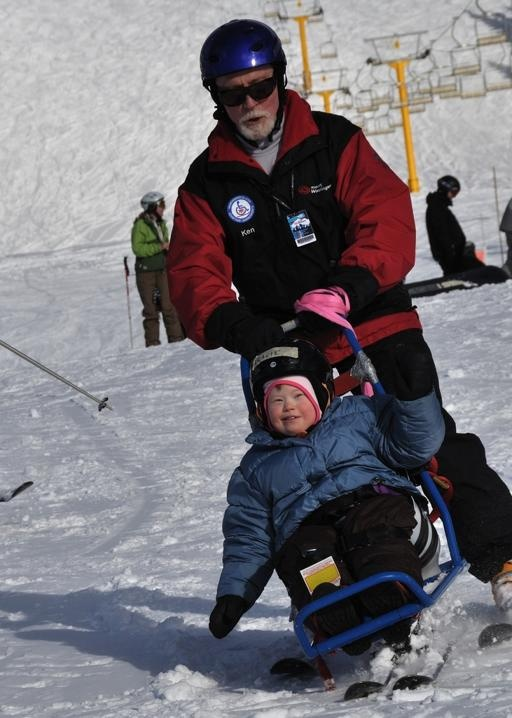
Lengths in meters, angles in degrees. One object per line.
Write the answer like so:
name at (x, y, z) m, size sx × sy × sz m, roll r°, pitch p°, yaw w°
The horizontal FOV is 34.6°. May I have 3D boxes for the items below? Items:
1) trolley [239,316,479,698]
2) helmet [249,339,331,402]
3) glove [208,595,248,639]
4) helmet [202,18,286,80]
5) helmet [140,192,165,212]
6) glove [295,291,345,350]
trolley at (0.297, 0.424, 2.406) m, size 0.620 × 0.739 × 0.700 m, roll -6°, pitch 3°, yaw 3°
helmet at (0.117, 0.022, 2.524) m, size 0.213 × 0.204 × 0.202 m, roll -8°, pitch 15°, yaw 11°
glove at (-0.077, 0.736, 2.406) m, size 0.069 × 0.063 × 0.173 m, roll 18°, pitch 38°, yaw 19°
helmet at (-0.031, -1.021, 2.668) m, size 0.221 × 0.260 × 0.196 m, roll -10°, pitch 56°, yaw 0°
helmet at (-1.302, -2.091, 10.901) m, size 0.369 × 0.230 × 0.237 m, roll -5°, pitch 59°, yaw -28°
glove at (0.171, -0.125, 2.469) m, size 0.143 × 0.154 × 0.149 m, roll -6°, pitch 43°, yaw -2°
